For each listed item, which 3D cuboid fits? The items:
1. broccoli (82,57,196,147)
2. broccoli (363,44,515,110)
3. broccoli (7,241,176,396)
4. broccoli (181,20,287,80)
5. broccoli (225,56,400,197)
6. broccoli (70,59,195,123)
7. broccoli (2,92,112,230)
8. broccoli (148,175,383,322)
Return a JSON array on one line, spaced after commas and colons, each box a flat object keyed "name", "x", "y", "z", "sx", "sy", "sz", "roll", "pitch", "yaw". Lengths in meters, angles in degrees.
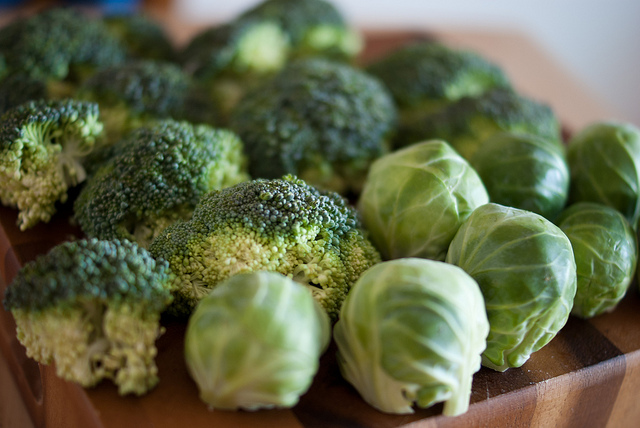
[{"name": "broccoli", "x": -0.578, "y": -0.395, "z": 2.040, "sx": 0.299, "sy": 0.377, "sz": 0.219, "roll": -8, "pitch": 80, "yaw": -19}, {"name": "broccoli", "x": 0.384, "y": -0.463, "z": 2.052, "sx": 0.288, "sy": 0.079, "sz": 0.294, "roll": 18, "pitch": 24, "yaw": 28}, {"name": "broccoli", "x": -0.607, "y": 0.249, "z": 1.669, "sx": 0.349, "sy": 0.391, "sz": 0.400, "roll": -1, "pitch": 86, "yaw": -18}, {"name": "broccoli", "x": -0.290, "y": -0.575, "z": 2.163, "sx": 0.332, "sy": 0.134, "sz": 0.261, "roll": -11, "pitch": 3, "yaw": -30}, {"name": "broccoli", "x": -0.003, "y": -0.313, "z": 2.050, "sx": 0.485, "sy": 0.299, "sz": 0.497, "roll": 23, "pitch": 44, "yaw": 32}, {"name": "broccoli", "x": -0.585, "y": -0.373, "z": 2.018, "sx": 0.362, "sy": 0.232, "sz": 0.202, "roll": -6, "pitch": 7, "yaw": -21}, {"name": "broccoli", "x": -0.768, "y": -0.155, "z": 1.858, "sx": 0.273, "sy": 0.316, "sz": 0.370, "roll": 46, "pitch": 73, "yaw": -10}, {"name": "broccoli", "x": -0.152, "y": 0.077, "z": 1.617, "sx": 0.492, "sy": 0.296, "sz": 0.390, "roll": 6, "pitch": 15, "yaw": -16}]
